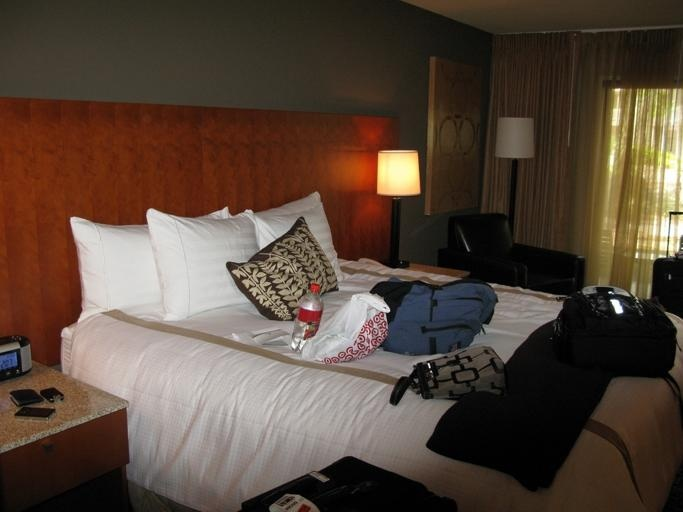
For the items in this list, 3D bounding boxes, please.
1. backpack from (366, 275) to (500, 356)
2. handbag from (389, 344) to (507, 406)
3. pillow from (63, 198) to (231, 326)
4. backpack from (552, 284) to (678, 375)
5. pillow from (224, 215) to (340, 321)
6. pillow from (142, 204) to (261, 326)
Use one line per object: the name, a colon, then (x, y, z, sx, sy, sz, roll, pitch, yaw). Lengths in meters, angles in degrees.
backpack: (0.426, 0.275, 2.205, 0.398, 0.145, 0.394, 6, 25, 10)
handbag: (0.412, 0.440, 1.791, 0.334, 0.118, 0.199, -8, 14, -3)
pillow: (-1.029, 0.058, 2.498, 0.184, 0.403, 0.639, -12, -1, 37)
backpack: (1.176, 0.258, 2.085, 0.333, 0.157, 0.472, 4, 13, 20)
pillow: (-0.396, 0.130, 2.661, 0.189, 0.458, 0.643, -29, 7, 41)
pillow: (-0.755, 0.075, 2.562, 0.230, 0.502, 0.641, -3, 2, 42)
